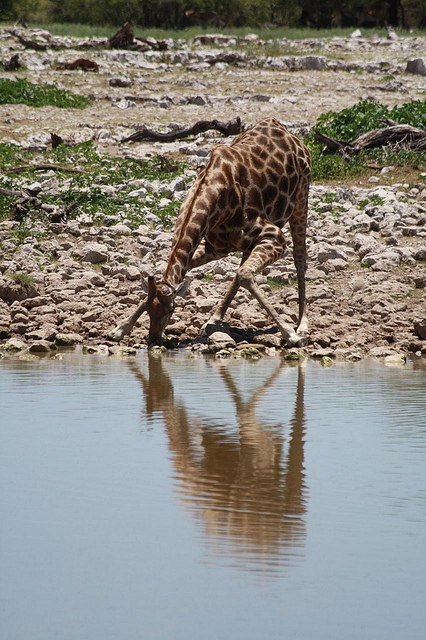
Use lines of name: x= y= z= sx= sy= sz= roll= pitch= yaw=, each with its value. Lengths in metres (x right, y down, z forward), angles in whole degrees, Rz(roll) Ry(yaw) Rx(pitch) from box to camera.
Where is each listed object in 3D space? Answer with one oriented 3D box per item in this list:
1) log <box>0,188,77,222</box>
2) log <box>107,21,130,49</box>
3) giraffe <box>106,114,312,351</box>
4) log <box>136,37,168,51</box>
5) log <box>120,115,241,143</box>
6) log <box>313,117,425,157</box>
log: x=-2.668 y=-1.711 z=14.017 sx=1.249 sy=0.491 sz=0.668 roll=3 pitch=7 yaw=29
log: x=-3.192 y=-9.909 z=32.535 sx=0.420 sy=0.399 sz=1.368 roll=33 pitch=47 yaw=-6
giraffe: x=0.275 y=-0.968 z=9.389 sx=1.193 sy=2.296 sz=2.830 roll=2 pitch=6 yaw=23
log: x=-2.133 y=-9.599 z=33.478 sx=1.111 sy=0.327 sz=0.605 roll=12 pitch=19 yaw=-23
log: x=-0.552 y=-3.846 z=19.180 sx=2.259 sy=0.475 sz=0.709 roll=0 pitch=6 yaw=-2
log: x=2.916 y=-3.389 z=17.559 sx=1.587 sy=0.529 sz=0.824 roll=-7 pitch=31 yaw=-7
